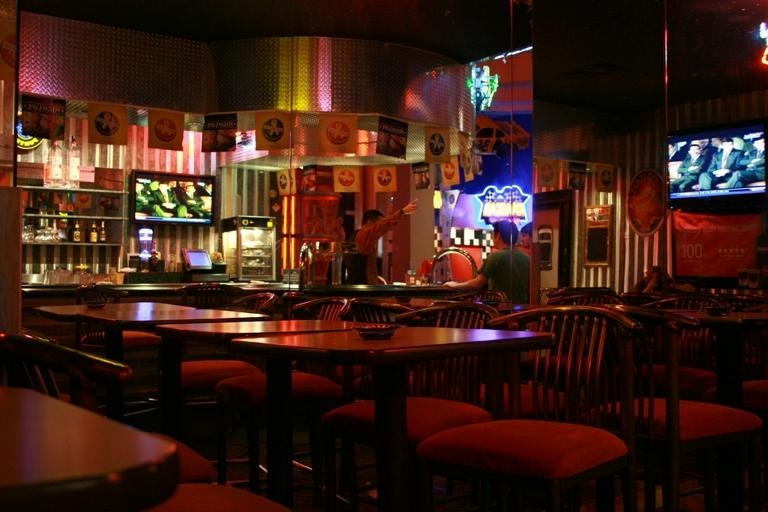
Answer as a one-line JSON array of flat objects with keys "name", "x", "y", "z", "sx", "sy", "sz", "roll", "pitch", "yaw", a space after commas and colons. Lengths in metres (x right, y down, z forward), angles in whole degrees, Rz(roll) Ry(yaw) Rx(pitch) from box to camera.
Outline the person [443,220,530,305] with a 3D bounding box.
[{"name": "person", "x": 1.030, "y": 0.051, "z": 6.305, "sx": 0.696, "sy": 1.016, "sz": 0.661, "roll": -2, "pitch": 6, "yaw": -44}]

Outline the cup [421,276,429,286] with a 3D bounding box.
[{"name": "cup", "x": 0.446, "y": 0.273, "z": 7.562, "sx": 0.084, "sy": 0.104, "sz": 0.091, "roll": 2, "pitch": 5, "yaw": 0}]

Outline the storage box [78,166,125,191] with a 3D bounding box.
[{"name": "storage box", "x": -4.289, "y": -1.194, "z": 10.497, "sx": 0.659, "sy": 0.370, "sz": 0.344, "roll": 0, "pitch": 4, "yaw": -33}]

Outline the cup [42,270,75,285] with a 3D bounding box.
[{"name": "cup", "x": -3.423, "y": 0.214, "z": 7.230, "sx": 0.289, "sy": 0.188, "sz": 0.276, "roll": -1, "pitch": -1, "yaw": 0}]

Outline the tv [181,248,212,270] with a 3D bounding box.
[{"name": "tv", "x": -2.455, "y": 0.038, "z": 9.251, "sx": 0.493, "sy": 0.246, "sz": 0.454, "roll": 6, "pitch": 3, "yaw": -32}]

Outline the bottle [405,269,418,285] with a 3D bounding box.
[{"name": "bottle", "x": 0.306, "y": 0.241, "z": 7.873, "sx": 0.132, "sy": 0.124, "sz": 0.132, "roll": 2, "pitch": 4, "yaw": 33}]

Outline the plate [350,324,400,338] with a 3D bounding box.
[{"name": "plate", "x": -0.024, "y": 0.343, "z": 3.189, "sx": 0.157, "sy": 0.056, "sz": 0.232, "roll": 0, "pitch": 1, "yaw": 8}]

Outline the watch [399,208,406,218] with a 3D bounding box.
[{"name": "watch", "x": 0.198, "y": -0.517, "z": 7.864, "sx": 0.067, "sy": 0.098, "sz": 0.096, "roll": 2, "pitch": -3, "yaw": 42}]

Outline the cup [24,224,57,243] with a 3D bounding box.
[{"name": "cup", "x": -4.871, "y": -0.338, "z": 9.770, "sx": 0.530, "sy": 0.253, "sz": 0.392, "roll": 0, "pitch": 1, "yaw": -3}]

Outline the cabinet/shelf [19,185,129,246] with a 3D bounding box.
[{"name": "cabinet/shelf", "x": -4.479, "y": -0.603, "z": 9.830, "sx": 1.069, "sy": 0.483, "sz": 0.231, "roll": 4, "pitch": -9, "yaw": -39}]

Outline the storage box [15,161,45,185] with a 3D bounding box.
[{"name": "storage box", "x": -5.021, "y": -1.196, "z": 9.690, "sx": 0.219, "sy": 0.352, "sz": 0.421, "roll": 0, "pitch": 1, "yaw": 14}]
